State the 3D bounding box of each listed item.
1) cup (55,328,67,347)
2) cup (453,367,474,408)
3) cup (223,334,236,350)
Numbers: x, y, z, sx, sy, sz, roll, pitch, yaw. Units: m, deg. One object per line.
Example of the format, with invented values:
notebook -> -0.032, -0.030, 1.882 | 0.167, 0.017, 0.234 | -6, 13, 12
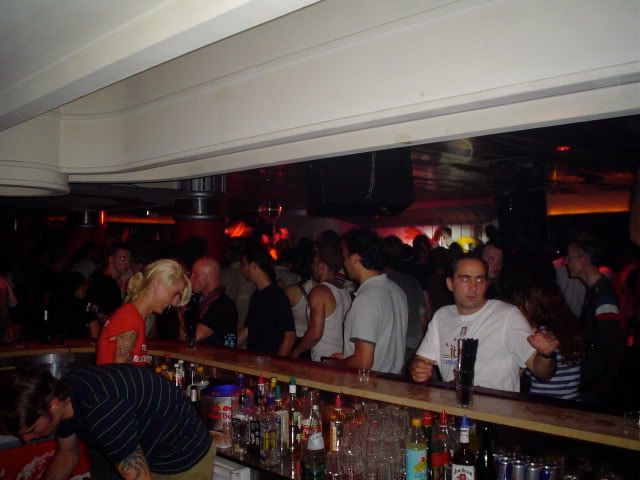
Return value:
cup -> -2.359, 0.894, 4.784 | 0.119, 0.156, 0.131 | 3, -1, 0
cup -> 0.807, 0.810, 2.888 | 0.113, 0.192, 0.106 | 0, -2, 0
cup -> -0.808, 0.912, 4.683 | 0.115, 0.143, 0.121 | 3, 1, 0
